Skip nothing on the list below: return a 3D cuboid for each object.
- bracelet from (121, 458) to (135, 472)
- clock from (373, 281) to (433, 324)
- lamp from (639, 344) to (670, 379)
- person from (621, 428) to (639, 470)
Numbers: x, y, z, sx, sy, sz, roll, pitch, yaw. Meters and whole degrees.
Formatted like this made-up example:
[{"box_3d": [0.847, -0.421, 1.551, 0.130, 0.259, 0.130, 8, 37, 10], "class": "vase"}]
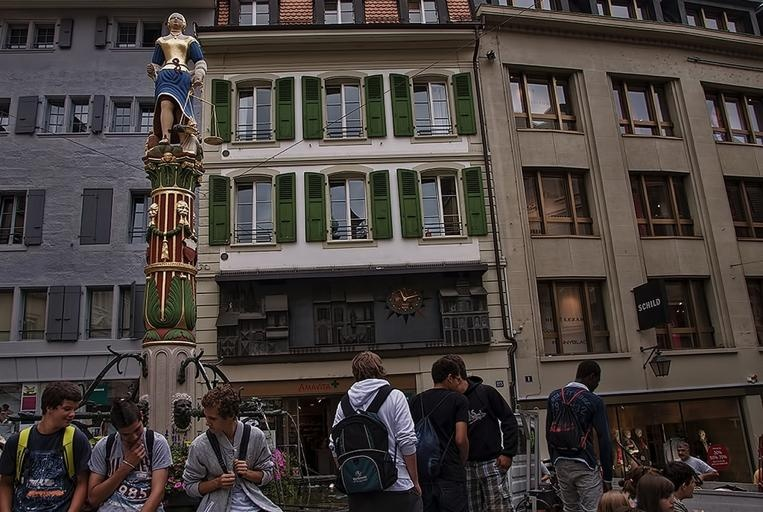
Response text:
[{"box_3d": [-4.269, 3.489, 13.123, 0.178, 0.064, 0.140, 26, -22, 1], "class": "bracelet"}, {"box_3d": [0.750, 1.582, 26.320, 1.428, 1.422, 0.458, 16, -51, 20], "class": "clock"}, {"box_3d": [9.346, 3.520, 26.402, 0.915, 1.094, 1.376, -4, -14, 0], "class": "lamp"}, {"box_3d": [7.929, 6.113, 24.964, 0.440, 1.499, 0.407, -10, 17, 17], "class": "person"}]
